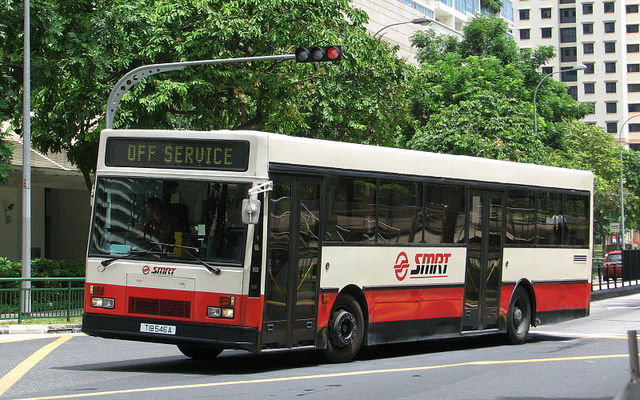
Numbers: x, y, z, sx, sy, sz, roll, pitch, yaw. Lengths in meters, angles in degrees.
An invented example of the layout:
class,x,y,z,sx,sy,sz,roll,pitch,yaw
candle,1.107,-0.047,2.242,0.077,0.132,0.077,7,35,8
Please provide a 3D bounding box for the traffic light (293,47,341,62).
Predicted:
class,x,y,z,sx,sy,sz,roll,pitch,yaw
traffic light,-0.112,-4.109,20.336,1.414,0.479,0.322,-7,7,25
